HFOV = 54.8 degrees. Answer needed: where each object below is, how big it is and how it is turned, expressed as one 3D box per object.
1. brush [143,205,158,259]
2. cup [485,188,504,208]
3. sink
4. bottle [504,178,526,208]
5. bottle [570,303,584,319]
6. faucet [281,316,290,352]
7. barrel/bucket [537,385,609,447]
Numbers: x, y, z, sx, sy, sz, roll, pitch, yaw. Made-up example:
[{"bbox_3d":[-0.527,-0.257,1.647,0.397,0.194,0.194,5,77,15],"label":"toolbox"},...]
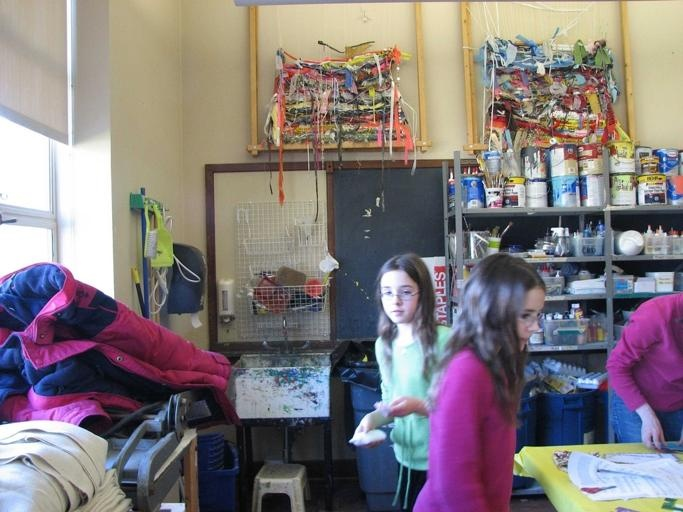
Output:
[{"bbox_3d":[-1.207,-0.159,4.156,0.079,0.349,0.158,-1,-2,-16],"label":"brush"},{"bbox_3d":[1.004,-0.386,4.423,0.121,0.135,0.118,3,-6,0],"label":"cup"},{"bbox_3d":[-0.377,0.853,4.307,0.621,0.358,0.566,-2,-2,-2],"label":"sink"},{"bbox_3d":[1.139,-0.419,4.368,0.163,0.201,0.172,0,-5,4],"label":"bottle"},{"bbox_3d":[1.567,0.376,4.411,0.067,0.128,0.070,-1,-5,0],"label":"bottle"},{"bbox_3d":[-0.396,0.543,4.616,0.045,0.257,0.174,-1,-2,-5],"label":"faucet"},{"bbox_3d":[1.526,1.036,4.453,0.388,0.447,0.407,-1,-6,0],"label":"barrel/bucket"}]
